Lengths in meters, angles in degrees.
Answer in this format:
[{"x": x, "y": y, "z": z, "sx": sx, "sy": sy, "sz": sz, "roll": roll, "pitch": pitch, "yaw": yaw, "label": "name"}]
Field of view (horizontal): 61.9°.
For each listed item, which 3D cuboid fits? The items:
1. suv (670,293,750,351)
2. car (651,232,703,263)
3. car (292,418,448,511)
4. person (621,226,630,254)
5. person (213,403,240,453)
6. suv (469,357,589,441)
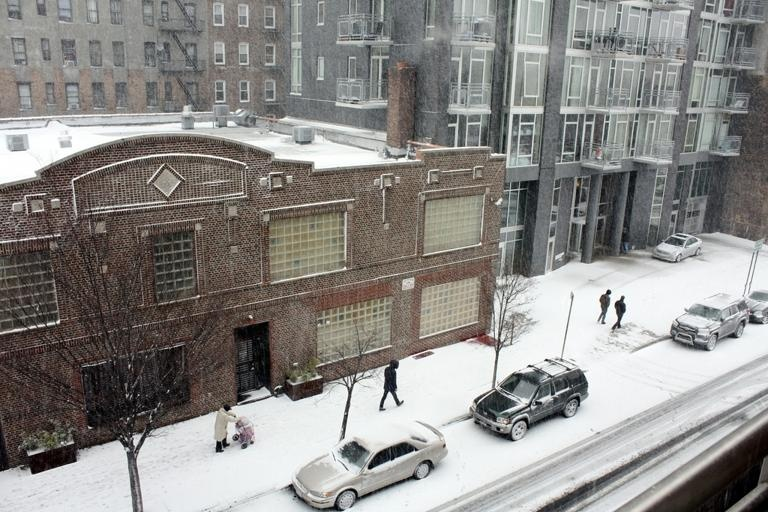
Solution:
[{"x": 19.949, "y": 3.808, "z": 39.198, "sx": 5.243, "sy": 2.366, "sz": 2.447, "roll": -9, "pitch": 13, "yaw": -35, "label": "suv"}, {"x": 23.956, "y": -0.665, "z": 52.615, "sx": 3.750, "sy": 1.615, "sz": 1.925, "roll": -14, "pitch": 23, "yaw": -28, "label": "car"}, {"x": -0.509, "y": 9.189, "z": 27.915, "sx": 6.559, "sy": 2.158, "sz": 2.826, "roll": -12, "pitch": 27, "yaw": -28, "label": "car"}, {"x": 20.279, "y": -1.433, "z": 53.751, "sx": 0.738, "sy": 2.035, "sz": 0.981, "roll": 5, "pitch": 21, "yaw": 21, "label": "person"}, {"x": -7.257, "y": 7.771, "z": 29.524, "sx": 1.145, "sy": 2.097, "sz": 0.822, "roll": -2, "pitch": 8, "yaw": -19, "label": "person"}, {"x": 7.047, "y": 7.212, "z": 31.769, "sx": 5.235, "sy": 2.527, "sz": 2.929, "roll": -11, "pitch": 21, "yaw": -30, "label": "suv"}]
